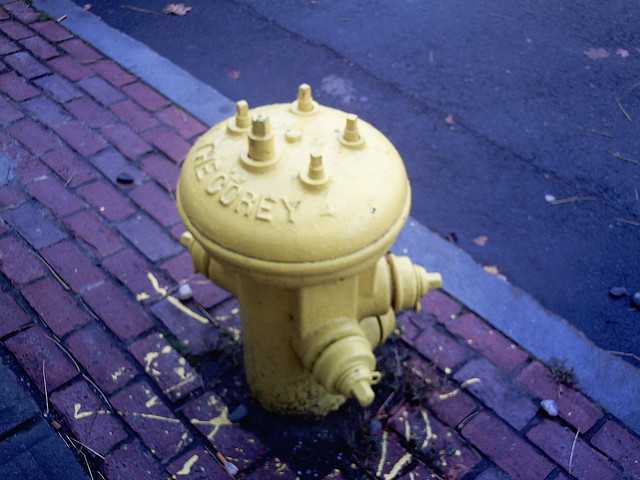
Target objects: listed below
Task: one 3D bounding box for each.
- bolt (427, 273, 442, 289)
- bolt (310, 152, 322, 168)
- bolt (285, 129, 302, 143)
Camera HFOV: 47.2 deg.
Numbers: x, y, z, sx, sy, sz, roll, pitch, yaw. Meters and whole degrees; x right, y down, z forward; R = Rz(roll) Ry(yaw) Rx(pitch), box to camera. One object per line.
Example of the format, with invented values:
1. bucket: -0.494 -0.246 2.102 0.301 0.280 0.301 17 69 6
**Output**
1. bolt: 0.684 0.246 4.409 0.084 0.054 0.072 5 39 -27
2. bolt: -0.022 -0.424 3.921 0.059 0.070 0.070 3 37 4
3. bolt: -0.148 -0.572 4.010 0.064 0.035 0.073 -1 53 -1
